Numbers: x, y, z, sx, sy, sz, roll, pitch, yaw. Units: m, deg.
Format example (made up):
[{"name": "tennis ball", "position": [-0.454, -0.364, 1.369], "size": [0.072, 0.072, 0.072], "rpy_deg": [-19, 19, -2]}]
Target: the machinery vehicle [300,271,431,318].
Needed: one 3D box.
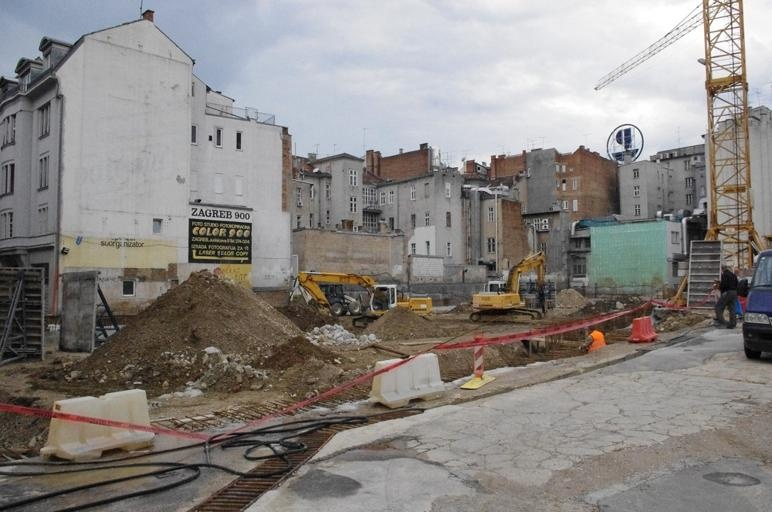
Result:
[{"name": "machinery vehicle", "position": [-2.140, 2.327, 38.172], "size": [5.950, 2.857, 2.993], "rpy_deg": [0, -1, -15]}]

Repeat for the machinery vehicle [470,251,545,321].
[{"name": "machinery vehicle", "position": [7.449, 1.890, 41.172], "size": [5.705, 3.760, 4.224], "rpy_deg": [0, -1, -4]}]
